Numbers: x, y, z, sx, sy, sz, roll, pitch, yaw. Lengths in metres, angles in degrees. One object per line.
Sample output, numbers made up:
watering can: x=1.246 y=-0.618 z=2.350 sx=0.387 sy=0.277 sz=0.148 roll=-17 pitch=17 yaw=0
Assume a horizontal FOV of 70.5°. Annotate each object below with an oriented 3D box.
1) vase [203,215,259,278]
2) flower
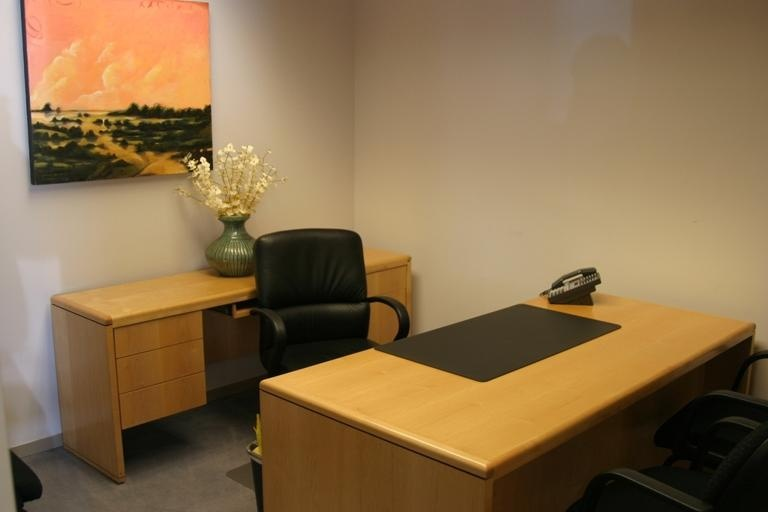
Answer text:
vase: x=-1.087 y=-0.093 z=3.985 sx=0.410 sy=0.422 sz=0.431 roll=0 pitch=14 yaw=-9
flower: x=-1.126 y=-0.410 z=4.056 sx=0.583 sy=0.369 sz=0.596 roll=-6 pitch=-12 yaw=27
